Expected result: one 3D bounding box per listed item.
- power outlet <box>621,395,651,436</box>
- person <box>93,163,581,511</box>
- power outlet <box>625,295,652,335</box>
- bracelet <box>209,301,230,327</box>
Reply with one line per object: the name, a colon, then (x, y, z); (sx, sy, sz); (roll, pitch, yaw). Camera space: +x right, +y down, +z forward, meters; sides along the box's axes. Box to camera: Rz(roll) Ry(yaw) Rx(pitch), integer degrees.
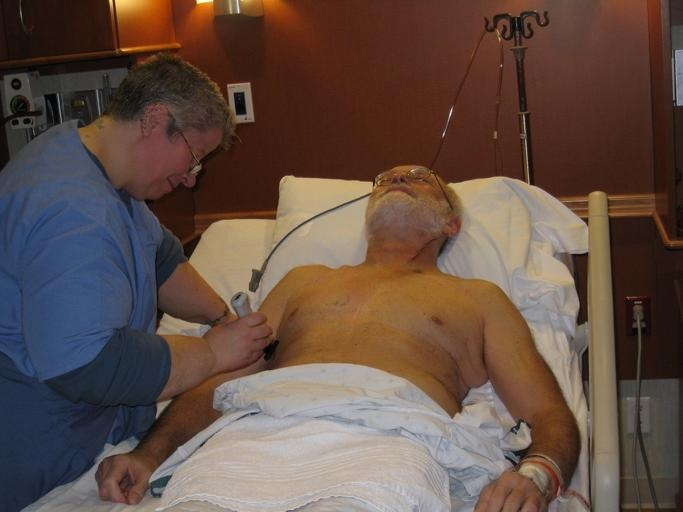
power outlet: (1.335, 0.713, 3.089); (0.019, 0.184, 0.128); (15, -19, -7)
person: (0.208, 0.237, 2.334); (0.840, 0.568, 1.284); (3, 16, 20)
power outlet: (1.330, 0.279, 3.085); (0.113, 0.217, 0.026); (-1, 25, 24)
bracelet: (-0.463, 0.220, 2.583); (0.022, 0.082, 0.077); (21, -32, -20)
